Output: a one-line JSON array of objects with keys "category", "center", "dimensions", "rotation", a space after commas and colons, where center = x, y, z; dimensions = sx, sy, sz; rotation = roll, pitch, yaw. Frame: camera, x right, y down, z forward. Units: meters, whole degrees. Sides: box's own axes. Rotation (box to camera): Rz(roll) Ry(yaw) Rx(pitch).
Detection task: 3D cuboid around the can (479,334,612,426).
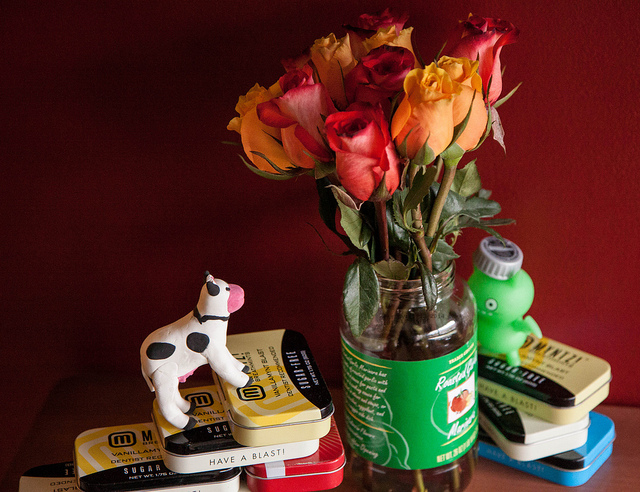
[{"category": "can", "center": [0.293, 0.171, 0.792], "dimensions": [0.140, 0.042, 0.108], "rotation": [20, 41, 37]}]
